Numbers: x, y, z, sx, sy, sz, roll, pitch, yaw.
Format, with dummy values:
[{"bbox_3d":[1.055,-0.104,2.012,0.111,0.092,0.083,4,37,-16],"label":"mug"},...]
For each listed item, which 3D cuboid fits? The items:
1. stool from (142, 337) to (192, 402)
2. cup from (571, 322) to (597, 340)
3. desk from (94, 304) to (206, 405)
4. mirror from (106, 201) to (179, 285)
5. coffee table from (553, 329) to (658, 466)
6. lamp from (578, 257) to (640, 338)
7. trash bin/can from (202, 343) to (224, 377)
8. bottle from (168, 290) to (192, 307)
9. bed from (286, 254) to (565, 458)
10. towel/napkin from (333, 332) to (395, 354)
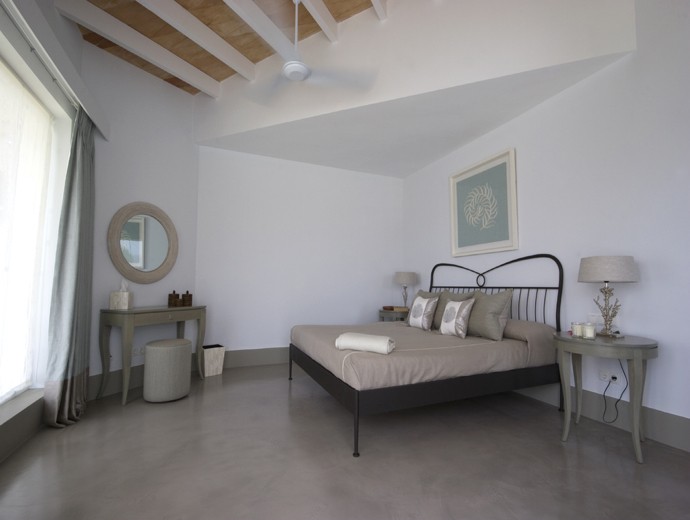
[{"bbox_3d":[-1.978,1.190,5.405,0.484,0.611,0.498,5,5,36],"label":"stool"},{"bbox_3d":[2.149,0.641,4.412,0.120,0.152,0.219,5,-5,-34],"label":"cup"},{"bbox_3d":[-2.249,0.985,5.815,0.482,1.050,1.142,16,13,36],"label":"desk"},{"bbox_3d":[-2.514,-0.201,5.924,0.054,1.159,0.937,-4,-6,37],"label":"mirror"},{"bbox_3d":[2.387,1.175,4.523,0.825,1.036,0.776,2,5,33],"label":"coffee table"},{"bbox_3d":[2.452,0.315,4.547,0.488,0.753,0.487,-1,5,34],"label":"lamp"},{"bbox_3d":[-1.751,1.276,6.325,0.286,0.384,0.328,14,10,39],"label":"trash bin/can"},{"bbox_3d":[-2.058,0.476,6.013,0.044,0.159,0.184,0,-1,44],"label":"bottle"},{"bbox_3d":[1.010,0.854,5.187,1.948,1.453,2.127,2,-3,-21],"label":"bed"},{"bbox_3d":[0.180,0.764,4.522,0.366,0.111,0.233,4,-4,22],"label":"towel/napkin"}]
